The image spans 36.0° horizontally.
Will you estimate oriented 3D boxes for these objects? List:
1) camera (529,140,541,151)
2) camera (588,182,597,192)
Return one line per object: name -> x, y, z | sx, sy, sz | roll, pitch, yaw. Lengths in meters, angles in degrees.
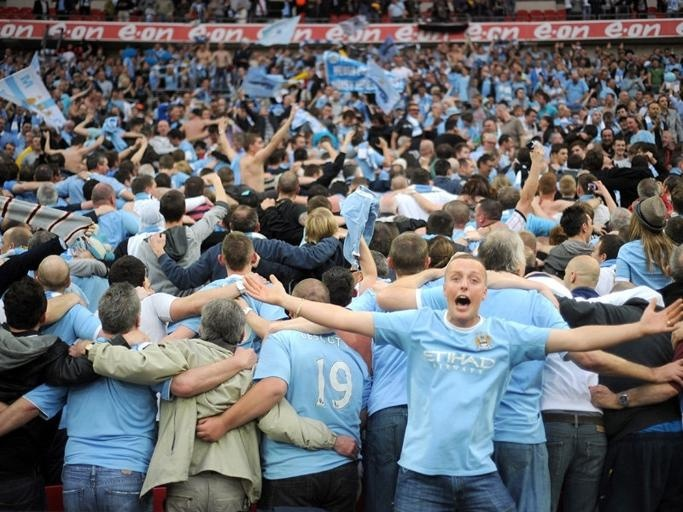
camera -> 2.516, -1.409, 13.694 | 0.173, 0.148, 0.319 | 4, 15, 9
camera -> 3.469, -0.942, 14.560 | 0.118, 0.117, 0.032 | 1, 6, -5
